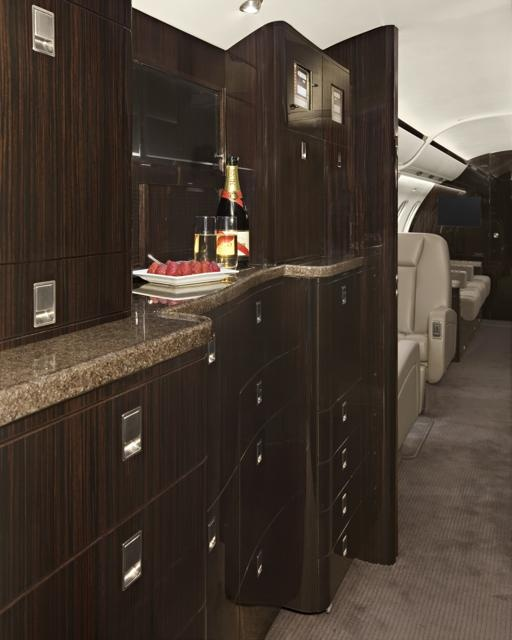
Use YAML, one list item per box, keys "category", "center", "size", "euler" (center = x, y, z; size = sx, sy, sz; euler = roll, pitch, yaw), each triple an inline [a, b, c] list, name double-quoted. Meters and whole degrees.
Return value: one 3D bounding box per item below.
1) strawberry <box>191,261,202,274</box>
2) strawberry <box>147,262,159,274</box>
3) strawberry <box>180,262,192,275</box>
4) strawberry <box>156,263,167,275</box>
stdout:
- category: "strawberry"
  center: [-0.149, -0.131, 1.230]
  size: [0.020, 0.034, 0.024]
  euler: [3, 0, 24]
- category: "strawberry"
  center: [-0.263, -0.135, 1.275]
  size: [0.025, 0.042, 0.030]
  euler: [3, 7, 23]
- category: "strawberry"
  center: [-0.170, -0.121, 1.211]
  size: [0.022, 0.035, 0.010]
  euler: [7, -12, -31]
- category: "strawberry"
  center: [-0.233, -0.127, 1.242]
  size: [0.021, 0.032, 0.007]
  euler: [-1, 1, 37]
